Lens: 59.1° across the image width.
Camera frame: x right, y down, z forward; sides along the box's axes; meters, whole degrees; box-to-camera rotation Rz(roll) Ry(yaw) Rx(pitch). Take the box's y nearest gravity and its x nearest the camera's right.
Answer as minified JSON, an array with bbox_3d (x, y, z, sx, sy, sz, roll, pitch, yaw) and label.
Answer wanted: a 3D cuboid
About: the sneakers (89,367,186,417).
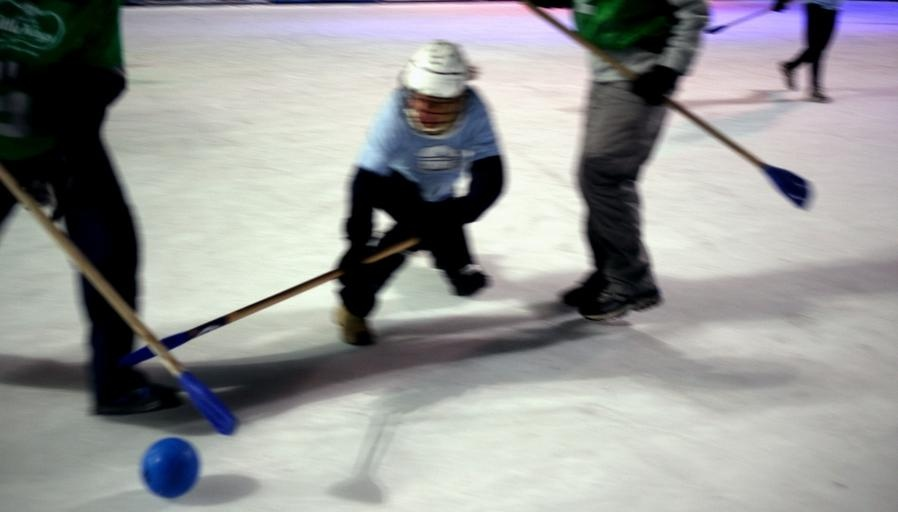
[{"bbox_3d":[-1.317,0.572,3.277,0.528,0.165,0.175,-1,1,-18],"label":"sneakers"}]
